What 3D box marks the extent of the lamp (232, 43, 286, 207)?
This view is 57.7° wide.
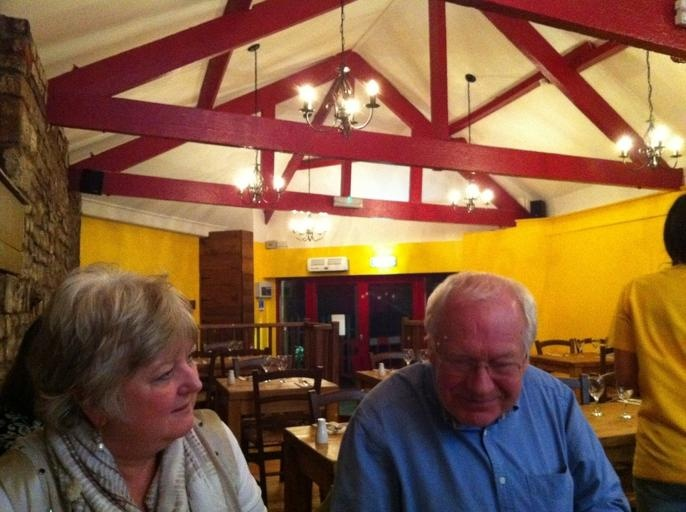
[{"bbox_3d":[-1.079,-1.386,8.056,0.640,1.803,2.989,0,-8,-6],"label":"lamp"}]

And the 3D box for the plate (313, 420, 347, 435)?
[{"bbox_3d":[-0.080,0.958,3.459,0.117,0.071,0.156,-15,-23,42],"label":"plate"}]

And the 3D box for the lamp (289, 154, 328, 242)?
[{"bbox_3d":[-0.586,-0.936,10.637,0.750,1.393,1.197,0,-7,-2],"label":"lamp"}]

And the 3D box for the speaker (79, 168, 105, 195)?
[{"bbox_3d":[-2.846,-0.829,7.065,0.258,0.300,0.093,0,-1,-13],"label":"speaker"}]
